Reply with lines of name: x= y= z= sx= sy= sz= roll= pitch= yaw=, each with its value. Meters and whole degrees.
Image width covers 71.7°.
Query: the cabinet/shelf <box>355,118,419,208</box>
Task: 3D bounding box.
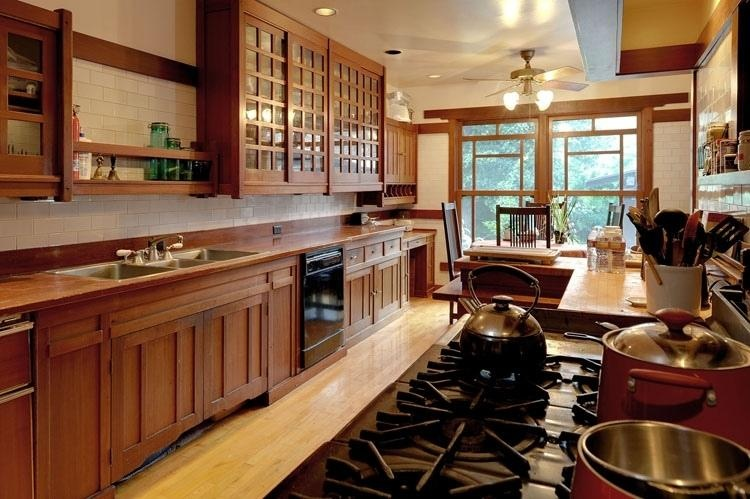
cabinet/shelf: x=0.123 y=-1.078 z=6.381 sx=0.448 sy=1.145 sz=1.460 roll=0 pitch=1 yaw=19

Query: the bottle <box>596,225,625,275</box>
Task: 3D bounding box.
bottle: x=1.588 y=-0.006 z=3.503 sx=0.185 sy=0.270 sz=0.253 roll=4 pitch=11 yaw=21

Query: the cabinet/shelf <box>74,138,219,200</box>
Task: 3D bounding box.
cabinet/shelf: x=-1.599 y=-0.520 z=3.511 sx=0.350 sy=0.368 sz=1.099 roll=5 pitch=11 yaw=27

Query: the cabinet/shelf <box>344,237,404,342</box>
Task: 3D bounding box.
cabinet/shelf: x=-0.035 y=0.419 z=5.372 sx=0.396 sy=0.638 sz=1.136 roll=-1 pitch=3 yaw=18

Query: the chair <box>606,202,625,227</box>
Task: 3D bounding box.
chair: x=2.632 y=-0.370 z=5.662 sx=0.140 sy=0.236 sz=0.476 roll=4 pitch=11 yaw=23

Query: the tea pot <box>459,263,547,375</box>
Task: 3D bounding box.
tea pot: x=0.403 y=0.224 z=1.871 sx=0.372 sy=0.376 sz=0.383 roll=-1 pitch=1 yaw=0

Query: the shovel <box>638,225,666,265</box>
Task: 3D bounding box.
shovel: x=1.141 y=-0.021 z=2.153 sx=0.068 sy=0.101 sz=0.293 roll=-19 pitch=-21 yaw=23

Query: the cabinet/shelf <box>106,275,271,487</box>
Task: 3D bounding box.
cabinet/shelf: x=-1.168 y=0.809 z=3.148 sx=0.463 sy=0.873 sz=1.251 roll=2 pitch=5 yaw=22

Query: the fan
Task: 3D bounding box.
fan: x=1.726 y=-1.982 z=5.804 sx=0.783 sy=0.244 sz=0.713 roll=-4 pitch=10 yaw=-21
